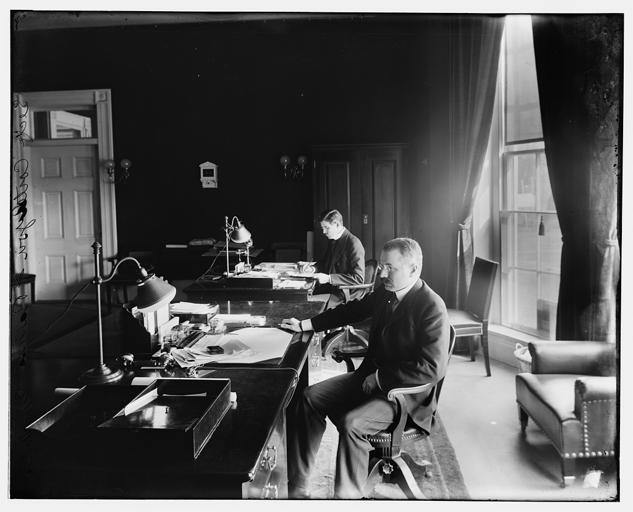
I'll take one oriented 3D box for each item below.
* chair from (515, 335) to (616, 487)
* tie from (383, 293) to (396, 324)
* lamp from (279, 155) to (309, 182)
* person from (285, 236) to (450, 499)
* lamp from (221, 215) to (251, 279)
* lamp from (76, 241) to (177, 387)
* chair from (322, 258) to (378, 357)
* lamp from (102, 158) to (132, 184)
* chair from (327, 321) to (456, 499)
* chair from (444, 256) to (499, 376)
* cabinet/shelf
[{"bbox_3d":[1.690,0.919,3.452,0.634,0.629,0.906,-1,6,5],"label":"chair"},{"bbox_3d":[0.420,0.292,3.209,0.031,0.146,0.093,5,9,-26],"label":"tie"},{"bbox_3d":[-0.297,-1.127,7.195,0.371,0.319,0.196,5,10,-3],"label":"lamp"},{"bbox_3d":[0.234,0.696,3.158,0.850,1.654,0.795,9,2,1],"label":"person"},{"bbox_3d":[-0.738,-0.093,5.219,0.238,0.574,0.204,-10,21,-24],"label":"lamp"},{"bbox_3d":[-0.841,0.244,2.472,0.389,0.619,0.205,-4,18,-30],"label":"lamp"},{"bbox_3d":[0.282,0.365,5.404,0.457,0.796,0.455,-3,20,-12],"label":"chair"},{"bbox_3d":[-2.681,-1.127,7.491,0.378,0.449,0.303,-6,9,-43],"label":"lamp"},{"bbox_3d":[0.376,0.827,3.155,0.611,0.996,0.713,-4,8,-22],"label":"chair"},{"bbox_3d":[1.265,0.528,4.871,0.538,0.926,0.563,2,7,11],"label":"chair"},{"bbox_3d":[0.566,-0.609,6.983,1.092,2.073,0.310,-2,44,3],"label":"cabinet/shelf"}]
